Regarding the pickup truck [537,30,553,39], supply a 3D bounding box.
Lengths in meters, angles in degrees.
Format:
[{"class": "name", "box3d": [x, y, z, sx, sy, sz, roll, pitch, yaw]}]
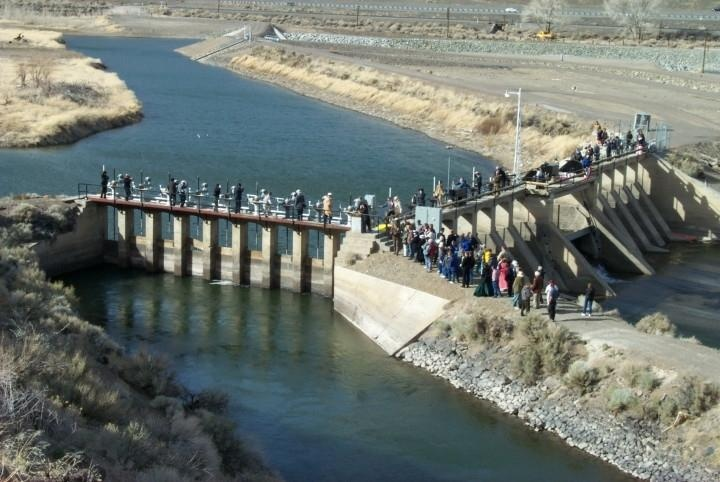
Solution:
[{"class": "pickup truck", "box3d": [41.906, -46.890, 174.132, 3.684, 1.140, 6.990, 9, 22, 8]}]

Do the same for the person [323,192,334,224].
[{"class": "person", "box3d": [-2.440, -2.538, 57.336, 0.699, 2.333, 1.269, 1, 21, -10]}]
